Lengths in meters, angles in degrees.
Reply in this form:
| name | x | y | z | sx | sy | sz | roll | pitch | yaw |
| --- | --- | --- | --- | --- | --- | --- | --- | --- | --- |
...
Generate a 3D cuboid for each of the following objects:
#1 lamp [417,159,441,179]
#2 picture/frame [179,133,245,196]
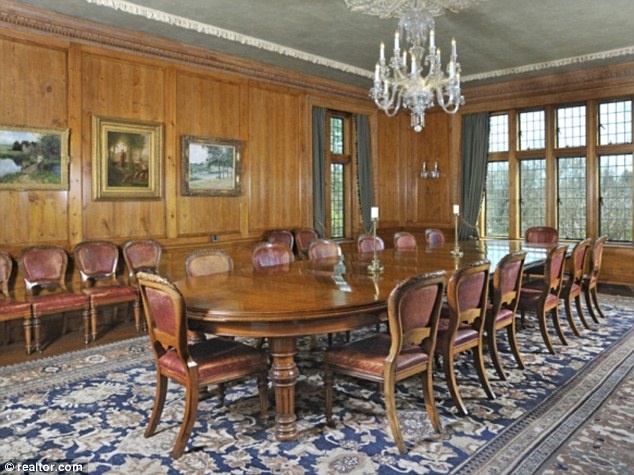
| name | x | y | z | sx | sy | sz | roll | pitch | yaw |
| --- | --- | --- | --- | --- | --- | --- | --- | --- | --- |
| lamp | 2.401 | -1.471 | 9.857 | 0.126 | 0.362 | 0.436 | -10 | 13 | -43 |
| picture/frame | -1.646 | -1.132 | 7.075 | 1.189 | 0.886 | 0.132 | -1 | 2 | -43 |
